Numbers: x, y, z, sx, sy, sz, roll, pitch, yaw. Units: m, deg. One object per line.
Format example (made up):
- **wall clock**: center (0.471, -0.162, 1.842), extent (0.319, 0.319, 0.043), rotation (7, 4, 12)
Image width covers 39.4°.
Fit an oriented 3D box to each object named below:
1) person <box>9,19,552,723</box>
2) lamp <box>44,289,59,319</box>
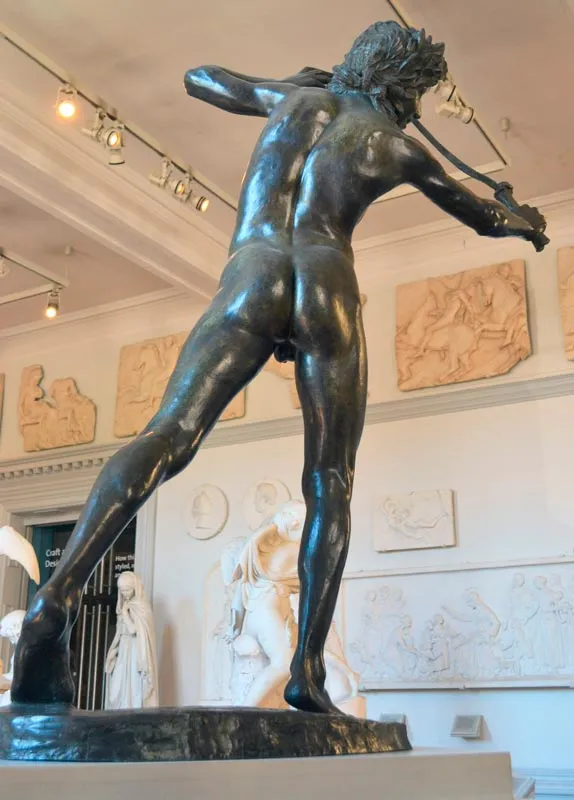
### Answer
- **person**: center (0.040, -0.187, 1.525), extent (0.333, 1.423, 1.042), rotation (-11, -14, 39)
- **lamp**: center (-2.362, -0.976, 7.974), extent (0.140, 0.356, 0.113), rotation (6, -57, -5)
